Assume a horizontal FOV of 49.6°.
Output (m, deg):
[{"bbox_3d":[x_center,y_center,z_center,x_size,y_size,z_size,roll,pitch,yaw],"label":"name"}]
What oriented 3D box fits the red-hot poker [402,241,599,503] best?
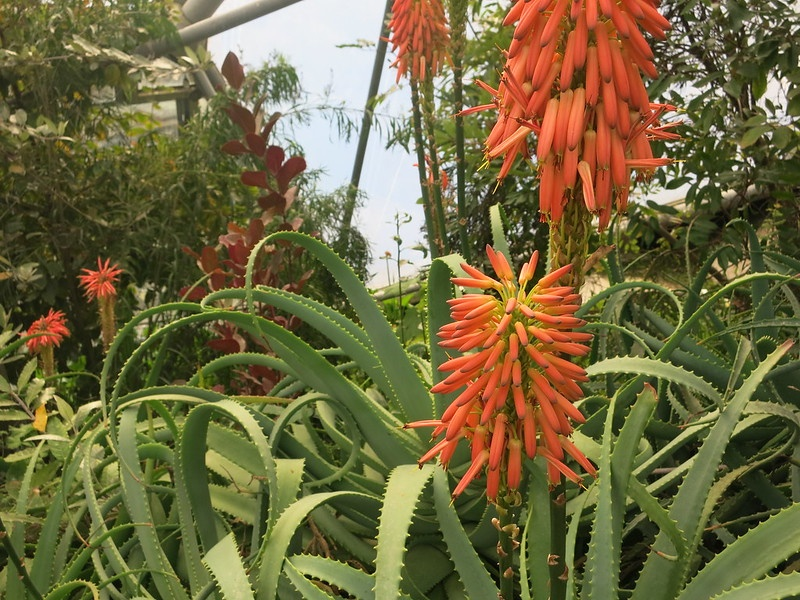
[{"bbox_3d":[0.220,0.176,1.888,0.365,0.627,0.346,27,-43,-33],"label":"red-hot poker"}]
